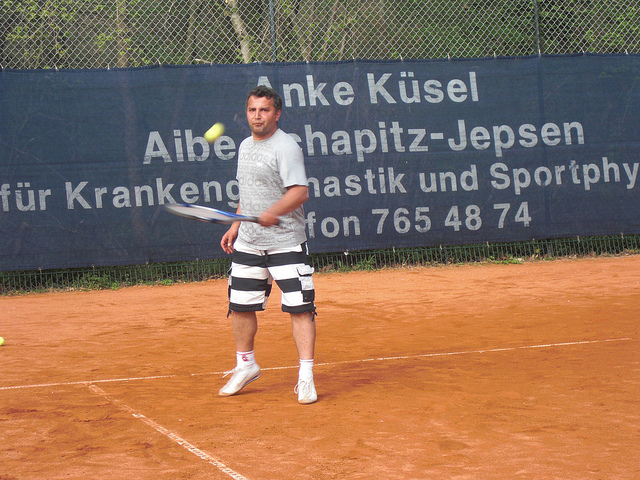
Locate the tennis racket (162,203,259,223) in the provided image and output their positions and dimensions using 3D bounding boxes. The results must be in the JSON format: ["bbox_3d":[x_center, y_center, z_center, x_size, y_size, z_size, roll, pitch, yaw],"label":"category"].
[{"bbox_3d":[-1.088,-0.241,7.701,0.264,0.116,0.917,-11,17,-40],"label":"tennis racket"}]

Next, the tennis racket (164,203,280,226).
[{"bbox_3d":[-0.956,-0.221,7.554,0.881,0.085,0.262,15,11,35],"label":"tennis racket"}]

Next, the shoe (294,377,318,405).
[{"bbox_3d":[-0.106,1.202,6.502,0.160,0.188,0.190,-2,10,0],"label":"shoe"}]
